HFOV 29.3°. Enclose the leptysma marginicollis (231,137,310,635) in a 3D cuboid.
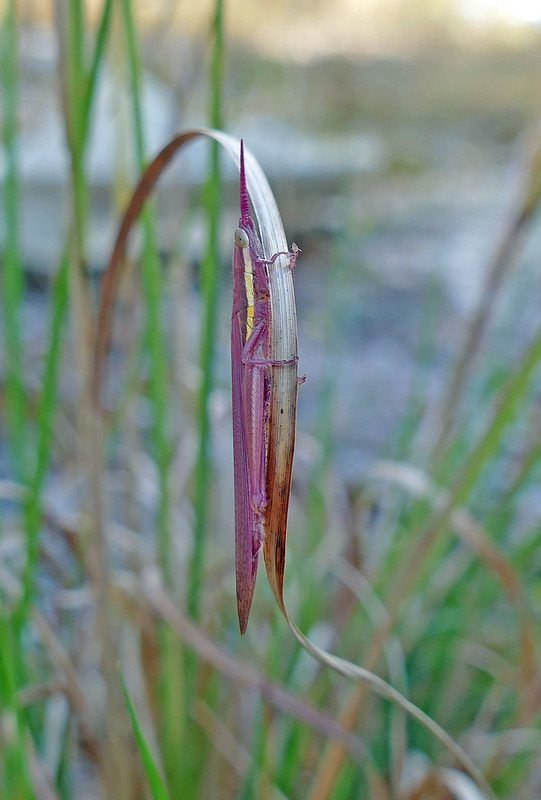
[{"bbox_3d":[0.005,-0.003,0.492,0.030,0.237,0.041,1,7,15],"label":"leptysma marginicollis"}]
